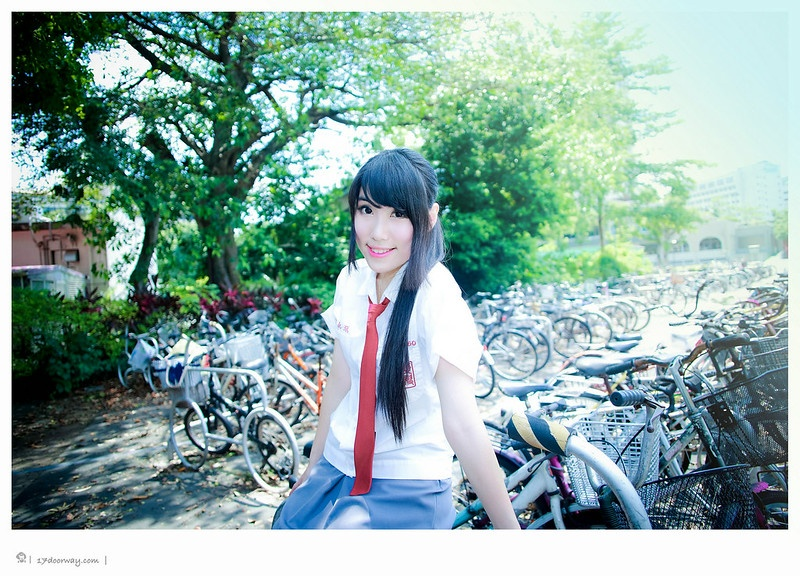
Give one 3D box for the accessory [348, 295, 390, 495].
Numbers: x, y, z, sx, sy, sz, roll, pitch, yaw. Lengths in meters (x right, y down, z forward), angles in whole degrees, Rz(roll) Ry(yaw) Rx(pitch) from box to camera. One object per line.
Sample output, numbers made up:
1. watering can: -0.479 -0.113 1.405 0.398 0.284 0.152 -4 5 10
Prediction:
1. accessory: -0.216 0.685 3.714 0.165 1.168 0.106 5 0 3
